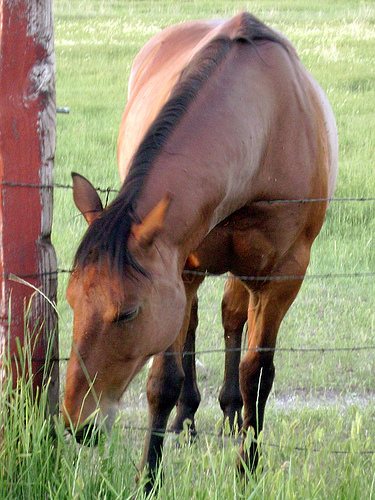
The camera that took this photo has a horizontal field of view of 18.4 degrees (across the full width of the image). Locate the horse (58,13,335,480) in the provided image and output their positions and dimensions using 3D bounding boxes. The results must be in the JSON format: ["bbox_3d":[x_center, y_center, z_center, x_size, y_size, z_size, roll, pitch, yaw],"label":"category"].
[{"bbox_3d":[0.071,-0.060,5.019,0.516,1.905,1.534,10,12,32],"label":"horse"}]
